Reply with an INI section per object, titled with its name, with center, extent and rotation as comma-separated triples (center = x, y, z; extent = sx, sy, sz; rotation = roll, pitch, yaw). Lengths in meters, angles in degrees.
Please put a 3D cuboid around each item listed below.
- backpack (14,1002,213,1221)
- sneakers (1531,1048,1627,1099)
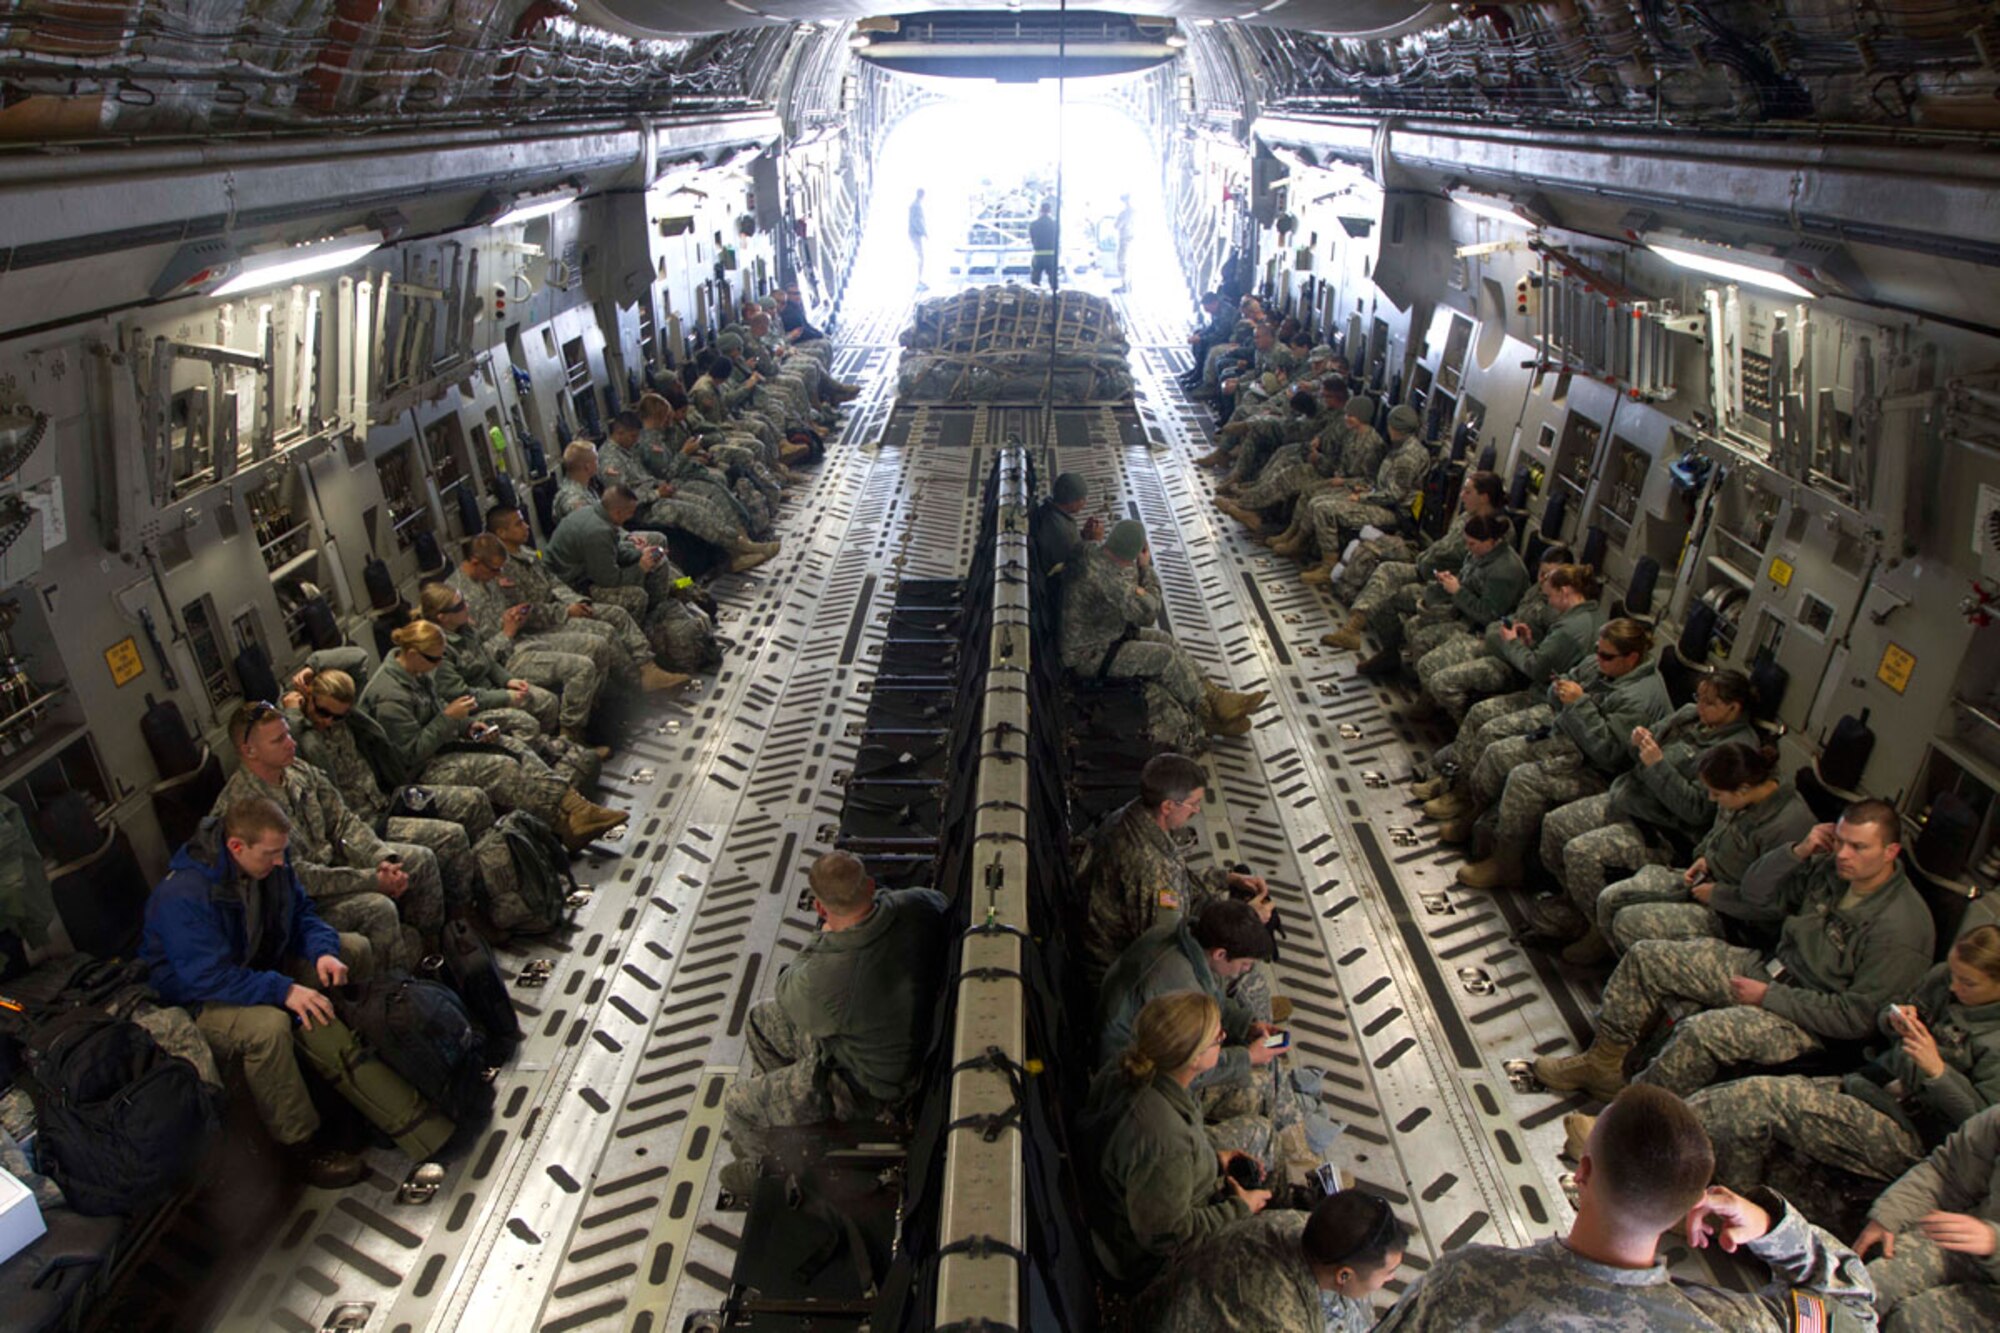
[backpack]
center = -4.140, 2.073, 4.500
extent = 0.715, 0.868, 0.313
rotation = -5, -23, -20
[sneakers]
center = 3.445, 2.399, 5.762
extent = 0.578, 0.211, 0.238
rotation = -1, -64, 27
